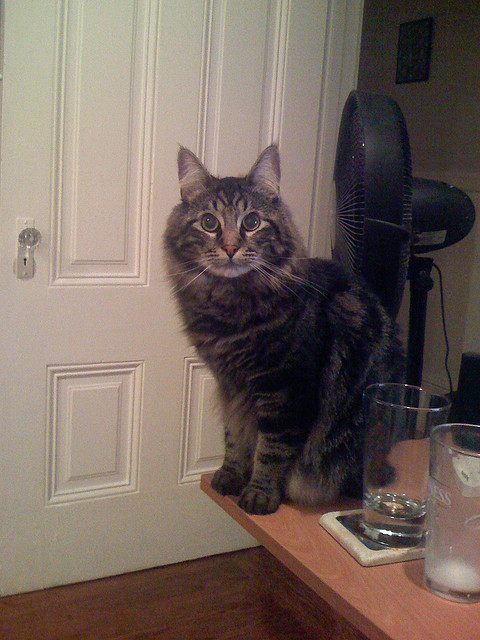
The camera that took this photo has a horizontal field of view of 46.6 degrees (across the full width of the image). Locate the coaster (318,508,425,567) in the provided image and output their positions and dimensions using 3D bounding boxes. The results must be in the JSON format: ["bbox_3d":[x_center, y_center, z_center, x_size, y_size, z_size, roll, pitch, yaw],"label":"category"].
[{"bbox_3d":[0.116,0.198,0.542,0.076,0.016,0.109,-2,7,-21],"label":"coaster"}]

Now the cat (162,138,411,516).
[{"bbox_3d":[0.017,0.040,0.946,0.350,0.653,0.323,5,-8,-13],"label":"cat"}]
